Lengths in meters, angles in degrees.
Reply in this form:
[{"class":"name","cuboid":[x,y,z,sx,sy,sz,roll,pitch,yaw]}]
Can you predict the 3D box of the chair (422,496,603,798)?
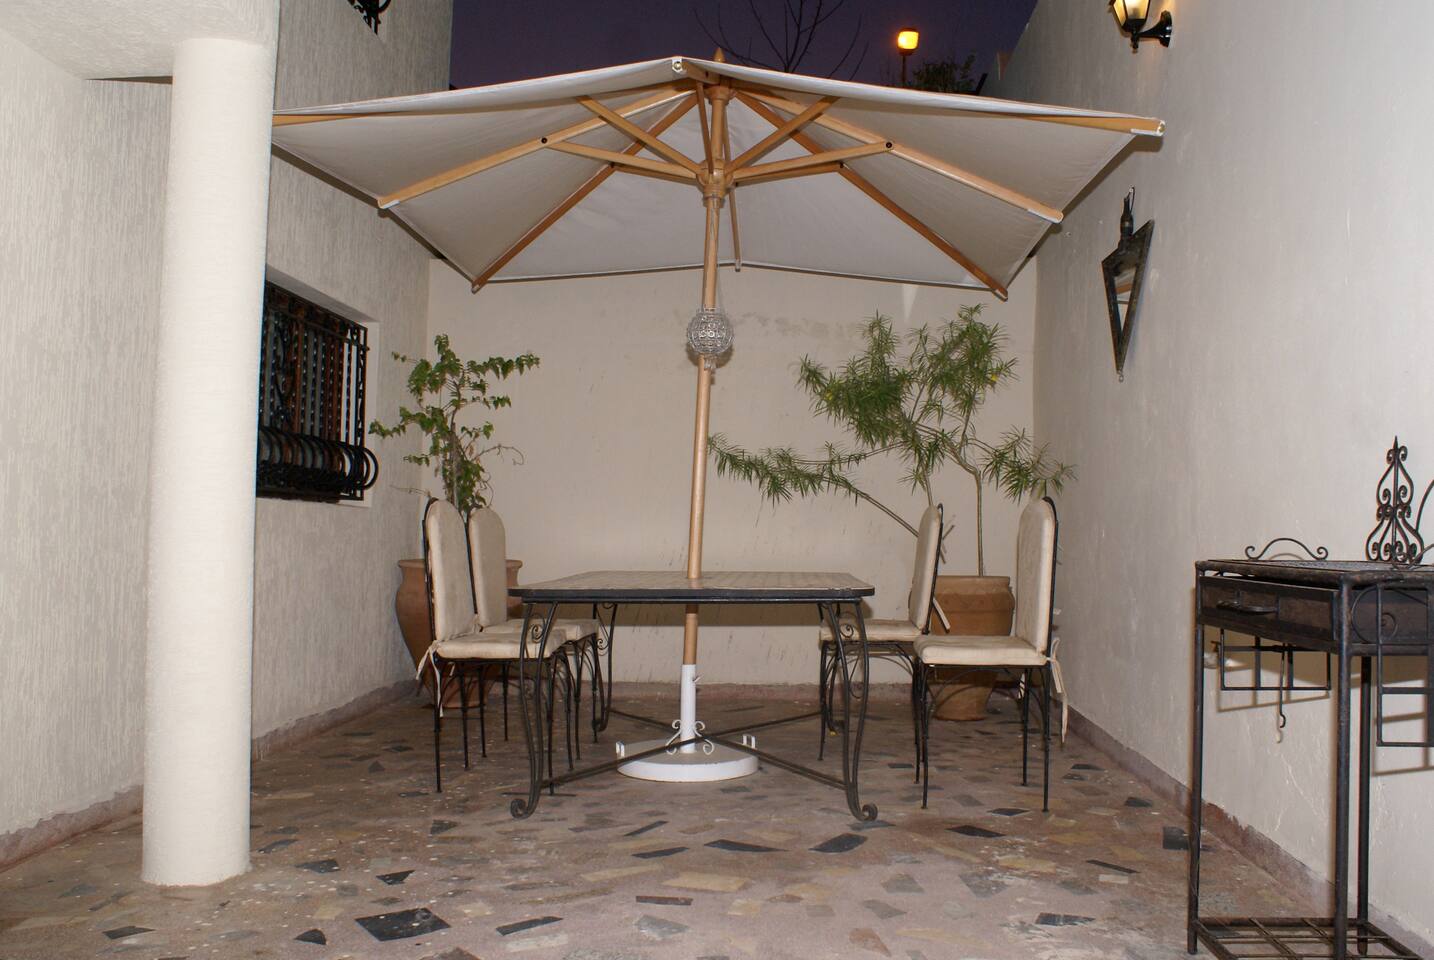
[{"class":"chair","cuboid":[-1.058,0.949,5.412,0.512,1.105,1.287,0,-2,0]}]
